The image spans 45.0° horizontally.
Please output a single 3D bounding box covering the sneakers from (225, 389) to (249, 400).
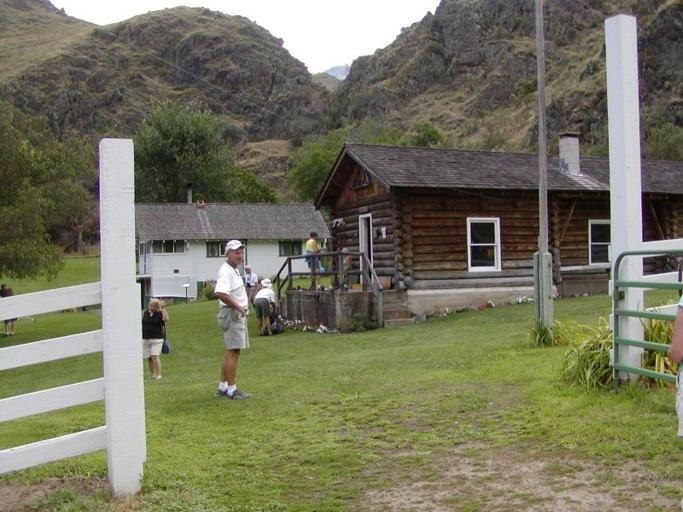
[{"bbox_3d":[-1.688,2.240,13.327,0.352,0.188,0.150,-1,-1,-4],"label":"sneakers"}]

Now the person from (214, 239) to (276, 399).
[{"bbox_3d":[-1.812,1.056,13.397,0.529,2.496,0.607,-2,8,5],"label":"person"}]

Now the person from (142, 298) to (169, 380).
[{"bbox_3d":[-3.814,1.699,16.805,0.459,1.516,0.899,-4,9,-7],"label":"person"}]
